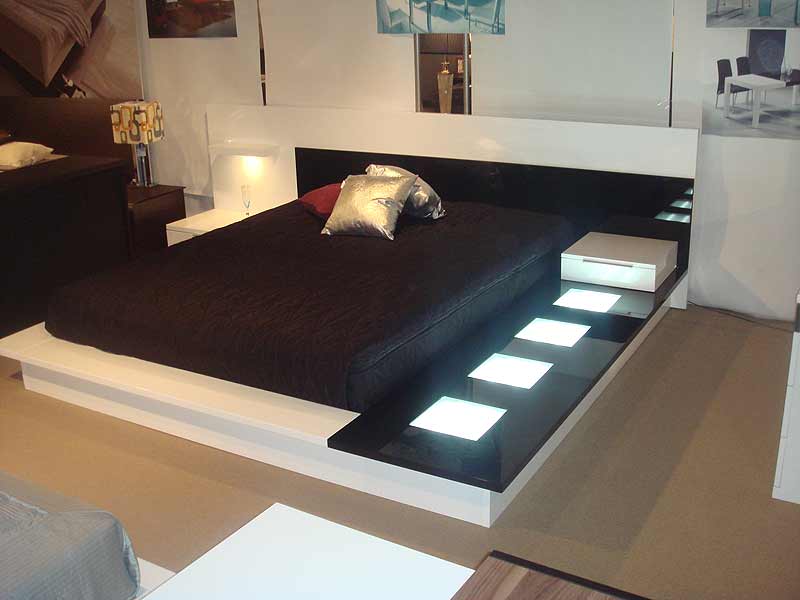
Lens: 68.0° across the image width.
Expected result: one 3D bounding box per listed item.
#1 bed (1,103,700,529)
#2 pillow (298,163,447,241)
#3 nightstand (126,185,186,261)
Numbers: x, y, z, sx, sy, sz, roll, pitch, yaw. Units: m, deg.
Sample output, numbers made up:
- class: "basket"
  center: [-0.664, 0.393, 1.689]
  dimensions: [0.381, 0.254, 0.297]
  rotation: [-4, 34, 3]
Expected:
- class: "bed"
  center: [-0.518, -0.366, 3.610]
  dimensions: [3.724, 1.268, 2.978]
  rotation: [15, 27, 30]
- class: "pillow"
  center: [-0.115, -0.637, 3.763]
  dimensions: [0.632, 0.195, 0.613]
  rotation: [-28, 44, -34]
- class: "nightstand"
  center: [-2.160, -0.711, 5.285]
  dimensions: [0.427, 0.596, 0.616]
  rotation: [-19, 30, -29]
